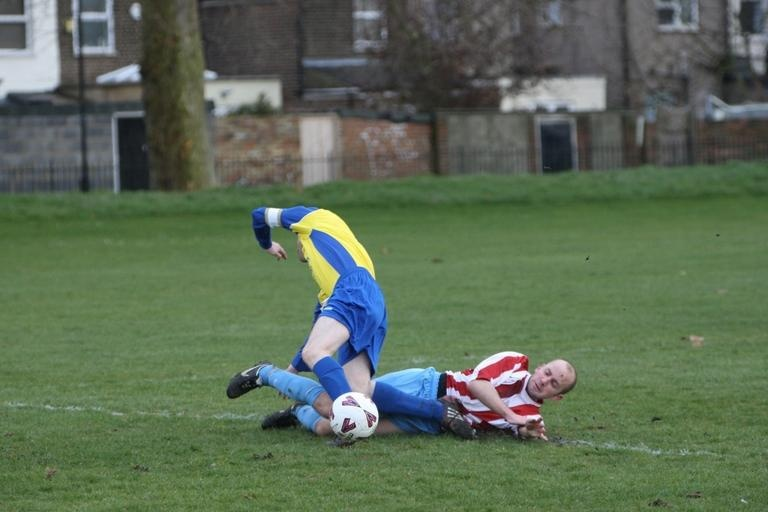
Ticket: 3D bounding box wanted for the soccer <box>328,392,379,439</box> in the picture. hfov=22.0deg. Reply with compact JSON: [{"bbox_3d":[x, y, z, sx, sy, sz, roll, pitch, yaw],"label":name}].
[{"bbox_3d":[-0.516,2.554,31.951,0.750,0.729,0.844,-1,-13,-41],"label":"soccer"}]
